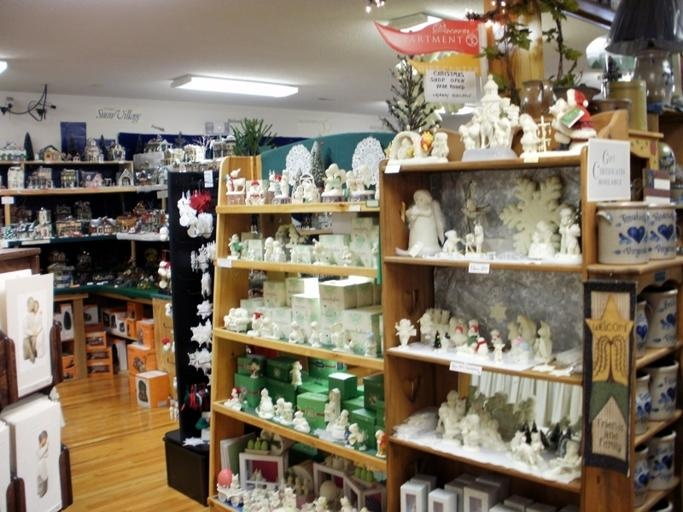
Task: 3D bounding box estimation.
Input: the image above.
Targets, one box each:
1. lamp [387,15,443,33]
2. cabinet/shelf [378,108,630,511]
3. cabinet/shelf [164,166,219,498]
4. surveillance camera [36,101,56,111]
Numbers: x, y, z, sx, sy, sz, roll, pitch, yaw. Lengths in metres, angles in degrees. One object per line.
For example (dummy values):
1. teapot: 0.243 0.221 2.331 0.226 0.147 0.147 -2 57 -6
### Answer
1. lamp: 0.705 -2.315 5.532 0.334 0.100 0.499 -9 8 -41
2. cabinet/shelf: 0.740 0.366 2.837 1.086 2.024 0.563 -1 5 28
3. cabinet/shelf: -1.120 0.563 4.327 0.545 2.413 0.564 -3 -6 21
4. surveillance camera: -4.255 -2.125 7.895 0.197 0.090 0.122 -4 10 -31
